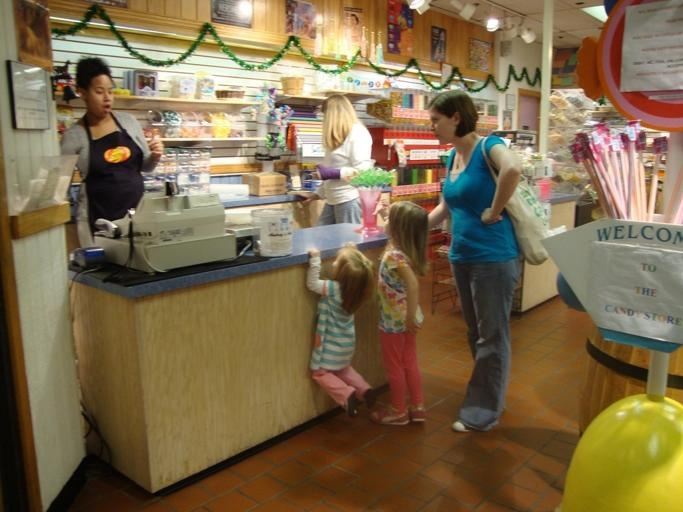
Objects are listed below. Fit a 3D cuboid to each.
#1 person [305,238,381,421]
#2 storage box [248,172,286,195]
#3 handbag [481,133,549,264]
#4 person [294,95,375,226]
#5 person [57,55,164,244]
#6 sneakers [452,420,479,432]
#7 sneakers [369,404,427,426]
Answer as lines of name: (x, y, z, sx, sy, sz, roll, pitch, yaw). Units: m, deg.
person: (0.025, 0.417, 2.913, 0.325, 0.965, 0.404, 4, 16, 28)
storage box: (-0.839, -0.809, 5.462, 0.339, 0.190, 0.337, -7, 10, -39)
handbag: (0.995, -0.316, 2.783, 0.375, 0.753, 0.448, 2, 15, 21)
person: (0.002, -0.955, 4.749, 0.613, 1.293, 0.528, -1, 14, 10)
person: (-1.724, -0.789, 3.657, 0.680, 1.386, 0.363, -9, 16, -23)
sneakers: (0.744, 1.018, 2.892, 0.123, 0.044, 0.055, 13, 2, -8)
sneakers: (0.355, 0.996, 3.030, 0.349, 0.110, 0.121, 0, 0, 5)
